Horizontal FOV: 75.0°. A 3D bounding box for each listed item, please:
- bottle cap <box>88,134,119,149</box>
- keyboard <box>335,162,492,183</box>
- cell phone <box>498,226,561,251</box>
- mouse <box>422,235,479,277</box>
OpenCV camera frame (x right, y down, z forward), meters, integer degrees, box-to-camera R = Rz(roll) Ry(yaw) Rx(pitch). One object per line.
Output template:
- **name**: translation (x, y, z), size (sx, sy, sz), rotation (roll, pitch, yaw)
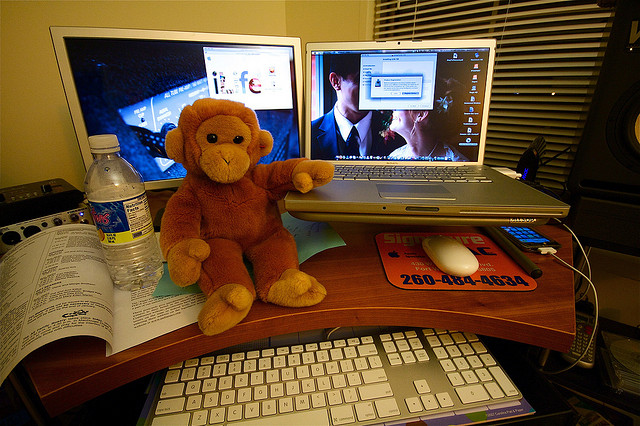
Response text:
- **bottle cap**: translation (-0.491, -0.170, 0.967), size (0.050, 0.028, 0.074), rotation (-3, 23, -3)
- **keyboard**: translation (0.255, -0.115, 1.187), size (0.427, 0.021, 0.177), rotation (-1, 23, 0)
- **cell phone**: translation (0.561, 0.068, 1.123), size (0.079, 0.017, 0.130), rotation (-3, 29, -9)
- **mouse**: translation (0.339, 0.105, 1.069), size (0.121, 0.046, 0.162), rotation (0, 19, -1)
